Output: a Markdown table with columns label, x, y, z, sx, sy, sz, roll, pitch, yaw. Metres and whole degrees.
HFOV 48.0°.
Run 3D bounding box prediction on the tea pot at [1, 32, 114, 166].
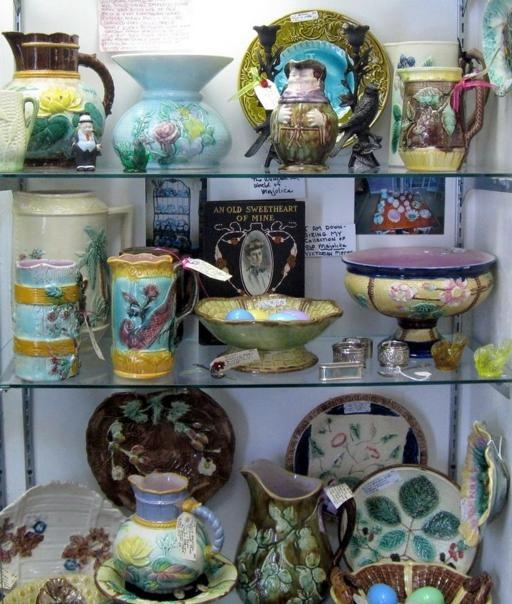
| label | x | y | z | sx | sy | sz | roll | pitch | yaw |
| --- | --- | --- | --- | --- | --- | --- | --- | --- | --- |
| tea pot | -0.277 | -0.288 | 0.904 | 0.212 | 0.194 | 0.172 | -5 | 9 | -36 |

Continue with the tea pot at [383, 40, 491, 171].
| label | x | y | z | sx | sy | sz | roll | pitch | yaw |
| --- | --- | --- | --- | --- | --- | --- | --- | --- | --- |
| tea pot | 0.271 | -0.295 | 0.872 | 0.144 | 0.211 | 0.202 | -1 | 8 | 12 |

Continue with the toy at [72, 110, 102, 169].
| label | x | y | z | sx | sy | sz | roll | pitch | yaw |
| --- | --- | --- | --- | --- | --- | --- | --- | --- | --- |
| toy | -0.240 | -0.219 | 0.802 | 0.037 | 0.079 | 0.063 | -5 | 8 | -14 |

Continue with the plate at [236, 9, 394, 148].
| label | x | y | z | sx | sy | sz | roll | pitch | yaw |
| --- | --- | --- | --- | --- | --- | --- | --- | --- | --- |
| plate | 0.089 | -0.344 | 0.879 | 0.274 | 0.246 | 0.042 | -4 | 13 | -8 |

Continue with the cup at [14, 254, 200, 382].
| label | x | y | z | sx | sy | sz | roll | pitch | yaw |
| --- | --- | --- | --- | --- | --- | --- | --- | --- | --- |
| cup | -0.167 | 0.022 | 0.771 | 0.257 | 0.168 | 0.141 | 1 | 5 | -9 |

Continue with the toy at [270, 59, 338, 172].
| label | x | y | z | sx | sy | sz | roll | pitch | yaw |
| --- | --- | --- | --- | --- | --- | --- | --- | --- | --- |
| toy | 0.064 | -0.247 | 0.774 | 0.084 | 0.146 | 0.044 | -2 | 8 | 7 |

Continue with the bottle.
| label | x | y | z | sx | sy | sz | roll | pitch | yaw |
| --- | --- | --- | --- | --- | --- | --- | --- | --- | --- |
| bottle | -0.117 | -0.267 | 0.822 | 0.177 | 0.159 | 0.079 | -4 | 8 | -11 |
